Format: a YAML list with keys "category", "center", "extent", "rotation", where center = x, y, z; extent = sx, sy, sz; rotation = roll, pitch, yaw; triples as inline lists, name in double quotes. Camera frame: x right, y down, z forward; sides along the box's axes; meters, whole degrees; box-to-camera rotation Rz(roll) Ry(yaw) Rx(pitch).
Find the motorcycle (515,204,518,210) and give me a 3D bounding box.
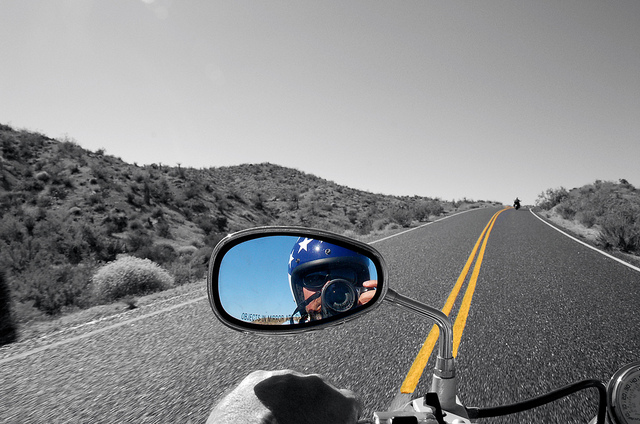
- category: "motorcycle"
  center: [27.638, -0.651, 45.627]
  extent: [0.258, 0.502, 0.670]
  rotation: [-2, -5, 20]
